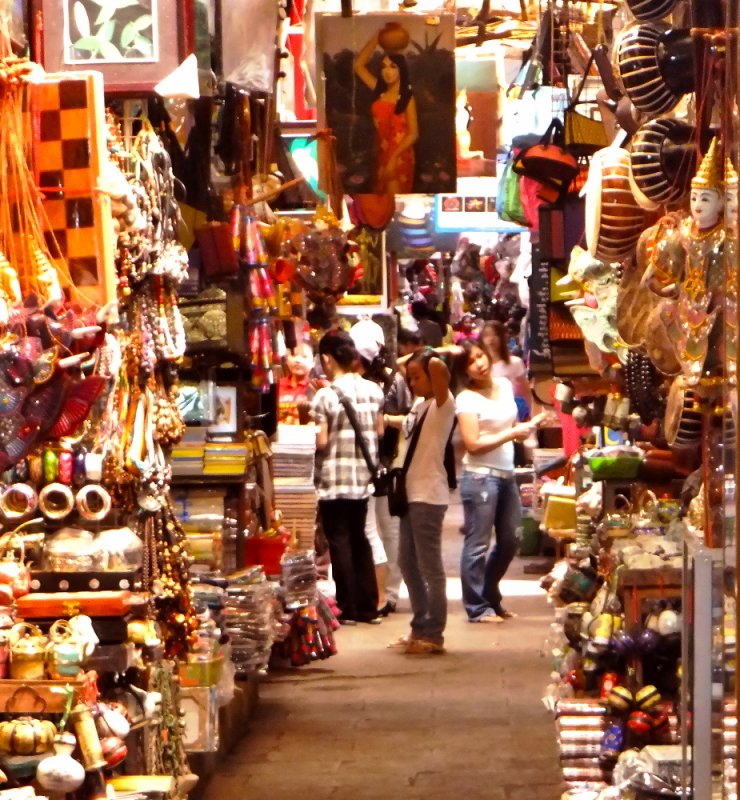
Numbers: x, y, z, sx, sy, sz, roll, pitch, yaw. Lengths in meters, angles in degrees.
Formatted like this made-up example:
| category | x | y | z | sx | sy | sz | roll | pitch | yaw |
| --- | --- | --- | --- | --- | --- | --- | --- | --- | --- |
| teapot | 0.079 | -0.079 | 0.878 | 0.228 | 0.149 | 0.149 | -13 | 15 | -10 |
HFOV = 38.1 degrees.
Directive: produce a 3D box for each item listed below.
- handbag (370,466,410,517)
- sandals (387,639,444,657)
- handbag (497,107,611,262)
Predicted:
| category | x | y | z | sx | sy | sz | roll | pitch | yaw |
| --- | --- | --- | --- | --- | --- | --- | --- | --- | --- |
| handbag | 0.133 | 0.562 | 6.767 | 0.123 | 0.306 | 0.232 | -5 | 2 | -42 |
| sandals | 0.279 | 1.528 | 6.698 | 0.376 | 0.092 | 0.183 | -3 | -2 | 20 |
| handbag | 1.245 | -1.313 | 6.501 | 0.414 | 1.043 | 0.765 | -3 | 11 | -34 |
